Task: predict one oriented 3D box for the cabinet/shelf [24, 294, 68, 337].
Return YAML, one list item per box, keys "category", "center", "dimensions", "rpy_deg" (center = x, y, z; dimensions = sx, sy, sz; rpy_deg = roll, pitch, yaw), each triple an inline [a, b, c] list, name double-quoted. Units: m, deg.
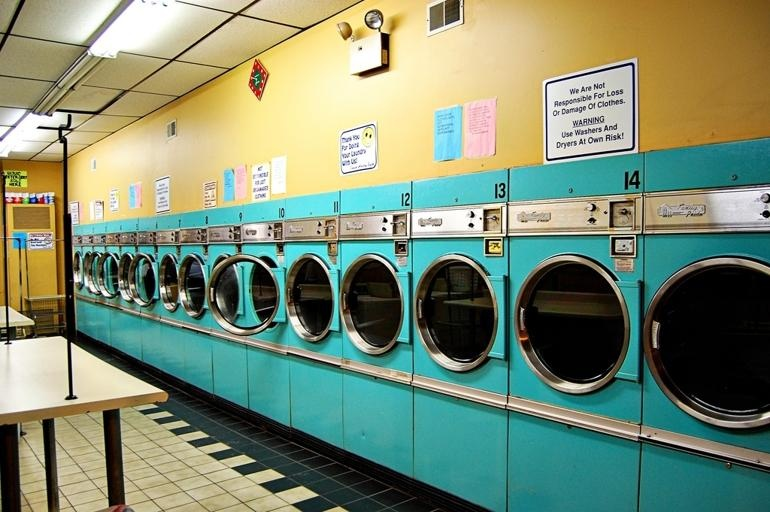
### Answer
- category: "cabinet/shelf"
  center: [-7.056, 1.189, 10.609]
  dimensions: [0.594, 0.711, 0.610]
  rpy_deg: [-3, 10, -30]
